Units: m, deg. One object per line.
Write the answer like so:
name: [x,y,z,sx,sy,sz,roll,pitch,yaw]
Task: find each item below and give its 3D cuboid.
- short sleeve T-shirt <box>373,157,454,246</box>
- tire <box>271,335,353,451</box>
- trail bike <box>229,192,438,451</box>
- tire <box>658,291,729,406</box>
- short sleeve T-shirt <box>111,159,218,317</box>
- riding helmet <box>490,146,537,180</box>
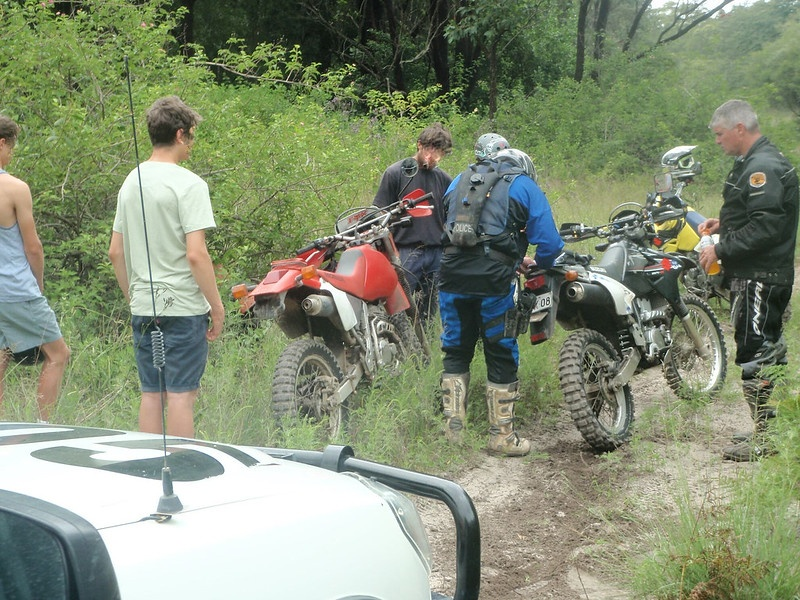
short sleeve T-shirt: [0.136,-0.910,8.681,0.903,0.905,0.392,-4,14,-23]
tire: [-0.670,0.743,7.018,0.254,0.828,0.784,1,-28,42]
trail bike: [-0.719,0.221,7.890,1.167,1.522,2.476,-25,16,32]
tire: [2.729,0.492,8.554,0.739,0.770,0.215,-31,7,-39]
short sleeve T-shirt: [-1.685,-0.415,6.408,0.756,1.114,0.432,-1,10,30]
riding helmet: [0.959,-1.174,7.673,0.255,0.347,0.327,9,16,38]
